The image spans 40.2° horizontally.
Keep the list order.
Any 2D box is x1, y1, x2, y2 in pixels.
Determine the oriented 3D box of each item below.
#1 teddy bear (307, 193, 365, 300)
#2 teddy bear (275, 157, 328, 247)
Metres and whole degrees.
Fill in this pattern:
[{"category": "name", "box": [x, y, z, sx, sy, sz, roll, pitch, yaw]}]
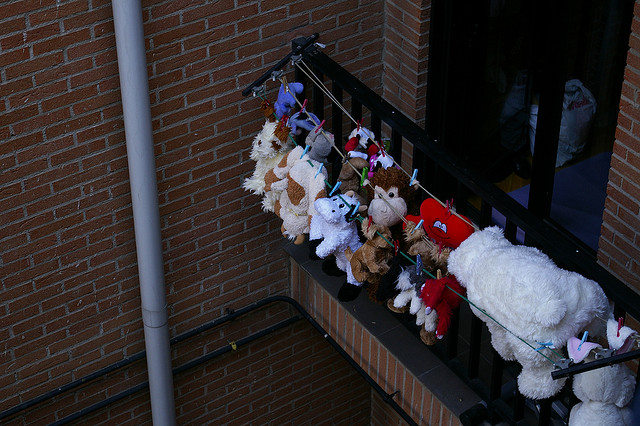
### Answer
[{"category": "teddy bear", "box": [0.112, 0.250, 6.148, 0.397, 0.401, 0.765, 11, -52, 13]}, {"category": "teddy bear", "box": [-0.131, -0.097, 6.333, 0.262, 0.398, 0.561, -9, -49, -21]}]
